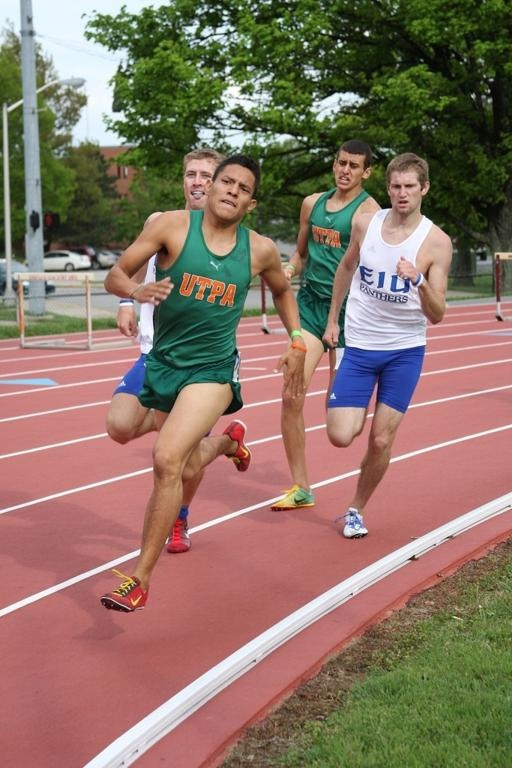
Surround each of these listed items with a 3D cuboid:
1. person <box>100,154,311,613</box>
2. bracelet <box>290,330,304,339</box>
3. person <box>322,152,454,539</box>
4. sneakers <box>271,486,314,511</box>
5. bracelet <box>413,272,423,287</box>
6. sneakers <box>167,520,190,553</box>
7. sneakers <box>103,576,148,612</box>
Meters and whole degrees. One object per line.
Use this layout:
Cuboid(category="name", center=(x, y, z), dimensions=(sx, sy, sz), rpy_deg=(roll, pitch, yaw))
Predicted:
Cuboid(category="person", center=(-0.323, -0.105, 3.057), dimensions=(0.449, 1.777, 1.294), rpy_deg=(7, 9, 28))
Cuboid(category="bracelet", center=(0.205, -0.247, 3.541), dimensions=(0.050, 0.030, 0.048), rpy_deg=(-1, 2, 11))
Cuboid(category="person", center=(0.757, -0.180, 3.969), dimensions=(0.463, 2.188, 0.749), rpy_deg=(-4, 10, -38))
Cuboid(category="sneakers", center=(0.261, 0.766, 4.757), dimensions=(0.350, 0.155, 0.120), rpy_deg=(-3, 6, -18))
Cuboid(category="bracelet", center=(0.807, -0.515, 3.462), dimensions=(0.024, 0.064, 0.048), rpy_deg=(30, -12, -12))
Cuboid(category="sneakers", center=(-0.416, 0.847, 3.931), dimensions=(0.100, 0.115, 0.281), rpy_deg=(-1, 4, 0))
Cuboid(category="sneakers", center=(-0.481, 0.797, 2.671), dimensions=(0.083, 0.104, 0.222), rpy_deg=(27, -1, 17))
